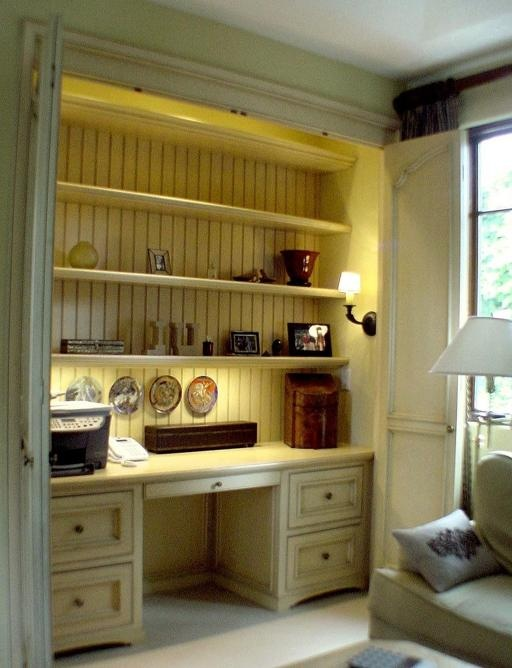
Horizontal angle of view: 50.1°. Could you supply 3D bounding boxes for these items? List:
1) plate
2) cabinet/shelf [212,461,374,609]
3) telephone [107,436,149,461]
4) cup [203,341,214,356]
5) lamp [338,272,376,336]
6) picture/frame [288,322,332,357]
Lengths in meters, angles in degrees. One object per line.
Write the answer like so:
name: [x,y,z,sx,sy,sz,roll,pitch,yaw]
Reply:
plate: [-0.589,0.353,2.990,0.898,0.186,0.042,-2,-1,-38]
cabinet/shelf: [0.250,0.912,3.346,0.972,0.950,0.710,1,-3,-31]
telephone: [-0.670,0.579,2.741,0.180,0.081,0.259,-2,-1,-35]
cup: [-0.269,0.083,3.143,0.075,0.088,0.076,1,3,0]
lamp: [0.613,-0.166,3.323,0.222,0.398,0.178,0,4,-22]
picture/frame: [0.340,0.041,3.528,0.200,0.147,0.028,8,-22,-29]
